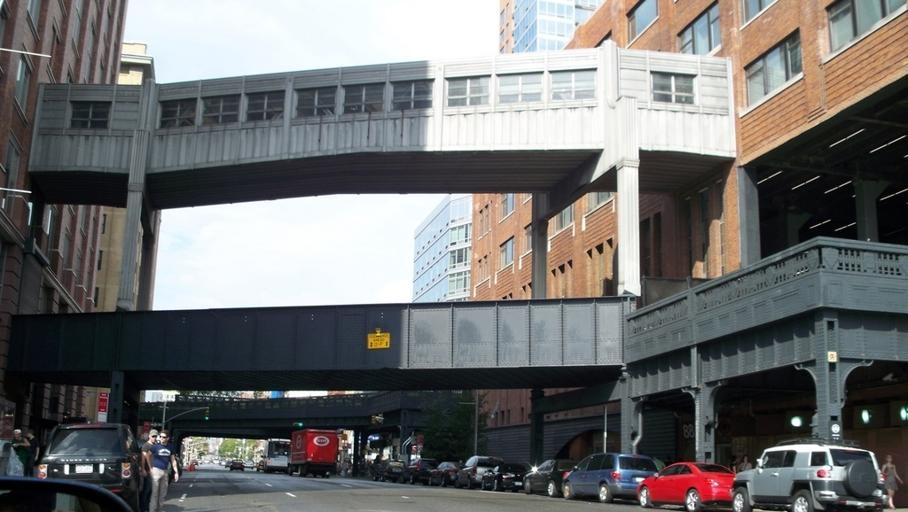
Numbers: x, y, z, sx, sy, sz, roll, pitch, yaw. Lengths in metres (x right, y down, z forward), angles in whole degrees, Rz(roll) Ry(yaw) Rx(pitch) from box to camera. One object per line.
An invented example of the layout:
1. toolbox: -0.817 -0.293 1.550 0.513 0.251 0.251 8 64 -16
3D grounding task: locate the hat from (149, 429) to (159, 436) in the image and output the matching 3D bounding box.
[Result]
1. hat: -14.885 8.702 57.490 0.439 0.196 0.614 13 -8 -24
